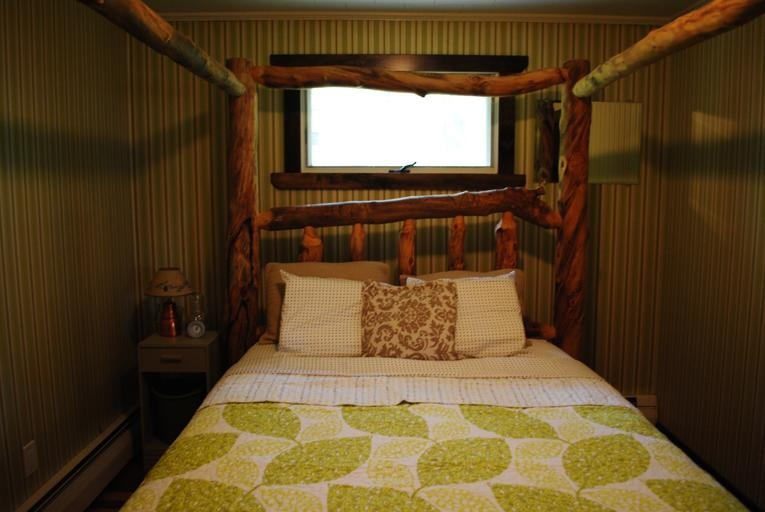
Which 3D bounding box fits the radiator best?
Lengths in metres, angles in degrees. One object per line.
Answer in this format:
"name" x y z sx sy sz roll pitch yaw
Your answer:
"radiator" 1.365 -0.738 3.686 0.775 0.648 0.048 0 2 -2
